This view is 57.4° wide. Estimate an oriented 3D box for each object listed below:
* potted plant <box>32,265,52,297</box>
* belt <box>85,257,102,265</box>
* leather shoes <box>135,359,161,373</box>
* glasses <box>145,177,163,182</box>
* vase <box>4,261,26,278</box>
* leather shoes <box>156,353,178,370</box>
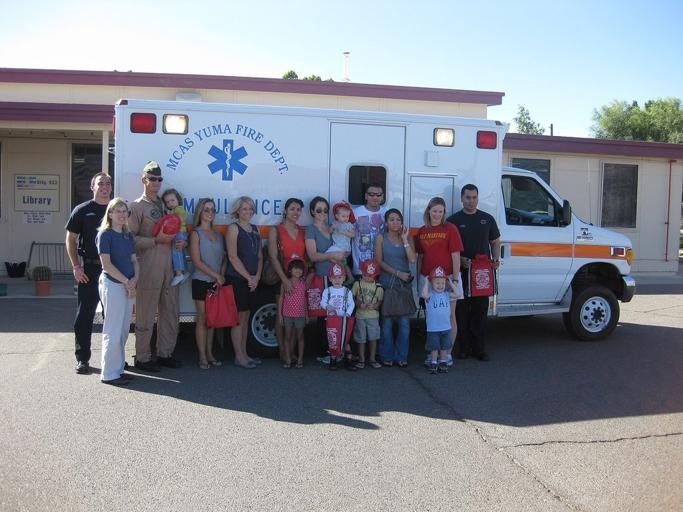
[{"bbox_3d":[-6.156,0.541,12.815,0.400,0.689,0.428,4,13,-2],"label":"potted plant"},{"bbox_3d":[-2.953,0.063,7.368,0.198,0.112,0.033,2,9,6],"label":"belt"},{"bbox_3d":[-2.350,1.339,7.617,0.331,0.151,0.131,1,2,11],"label":"leather shoes"},{"bbox_3d":[-2.194,-0.905,7.369,0.070,0.066,0.173,10,13,44],"label":"glasses"},{"bbox_3d":[-8.000,0.342,15.298,0.383,0.355,0.395,1,-8,3],"label":"vase"},{"bbox_3d":[-2.145,1.321,7.775,0.314,0.151,0.120,8,13,-12],"label":"leather shoes"}]
